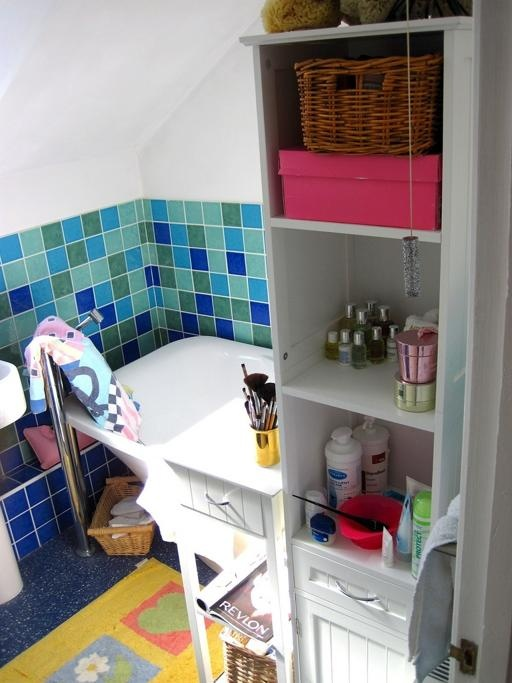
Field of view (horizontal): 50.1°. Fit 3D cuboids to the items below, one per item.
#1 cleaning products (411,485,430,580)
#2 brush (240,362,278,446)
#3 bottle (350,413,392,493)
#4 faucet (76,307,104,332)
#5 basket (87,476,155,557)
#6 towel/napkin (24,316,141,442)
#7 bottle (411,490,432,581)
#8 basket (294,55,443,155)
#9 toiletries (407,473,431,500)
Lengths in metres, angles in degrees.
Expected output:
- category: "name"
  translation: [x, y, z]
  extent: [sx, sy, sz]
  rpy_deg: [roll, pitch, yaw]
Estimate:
- category: "cleaning products"
  translation: [0.341, 0.395, 1.109]
  extent: [0.040, 0.176, 0.044]
  rpy_deg: [2, 11, 19]
- category: "brush"
  translation: [0.027, 0.160, 1.410]
  extent: [0.097, 0.158, 0.080]
  rpy_deg: [5, 19, 29]
- category: "bottle"
  translation: [0.297, 0.292, 1.401]
  extent: [0.086, 0.191, 0.084]
  rpy_deg: [-2, 13, 0]
- category: "faucet"
  translation: [-0.762, -0.100, 2.500]
  extent: [0.133, 0.072, 0.056]
  rpy_deg: [-33, -6, -9]
- category: "basket"
  translation: [-0.575, 0.781, 2.497]
  extent: [0.268, 0.164, 0.363]
  rpy_deg: [-3, 26, -1]
- category: "towel/napkin"
  translation: [-0.672, 0.144, 2.120]
  extent: [0.371, 0.486, 0.251]
  rpy_deg: [-8, 15, -2]
- category: "bottle"
  translation: [0.338, 0.390, 1.097]
  extent: [0.039, 0.158, 0.040]
  rpy_deg: [2, -2, 0]
- category: "basket"
  translation: [0.186, -0.366, 0.855]
  extent: [0.194, 0.130, 0.122]
  rpy_deg: [13, 28, 28]
- category: "toiletries"
  translation: [0.345, 0.311, 1.172]
  extent: [0.064, 0.026, 0.047]
  rpy_deg: [16, 27, 41]
